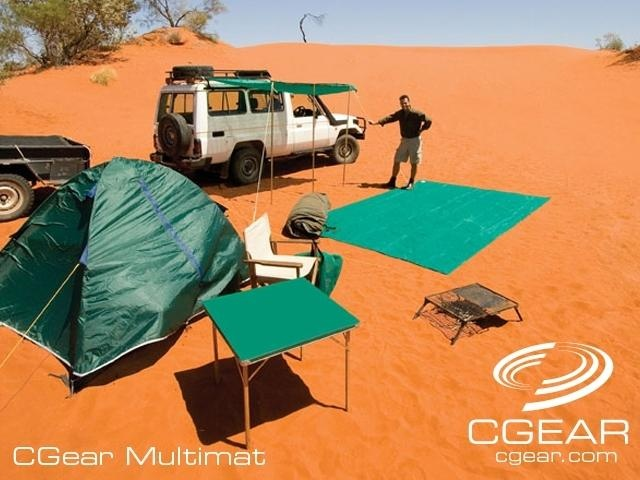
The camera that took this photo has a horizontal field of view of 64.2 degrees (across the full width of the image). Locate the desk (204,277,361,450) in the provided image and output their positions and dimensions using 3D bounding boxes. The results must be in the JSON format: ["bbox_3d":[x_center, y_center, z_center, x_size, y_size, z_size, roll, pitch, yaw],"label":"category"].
[{"bbox_3d":[-0.522,1.606,6.400,1.821,1.337,1.787,-13,28,-30],"label":"desk"}]

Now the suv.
[{"bbox_3d":[-1.146,-2.946,13.415,6.027,2.721,3.030,-20,32,-40],"label":"suv"}]

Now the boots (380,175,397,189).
[{"bbox_3d":[1.856,-1.513,13.420,0.473,0.324,0.218,13,20,31],"label":"boots"}]

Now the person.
[{"bbox_3d":[2.124,-2.419,12.799,0.814,2.380,1.073,-9,27,-18],"label":"person"}]
